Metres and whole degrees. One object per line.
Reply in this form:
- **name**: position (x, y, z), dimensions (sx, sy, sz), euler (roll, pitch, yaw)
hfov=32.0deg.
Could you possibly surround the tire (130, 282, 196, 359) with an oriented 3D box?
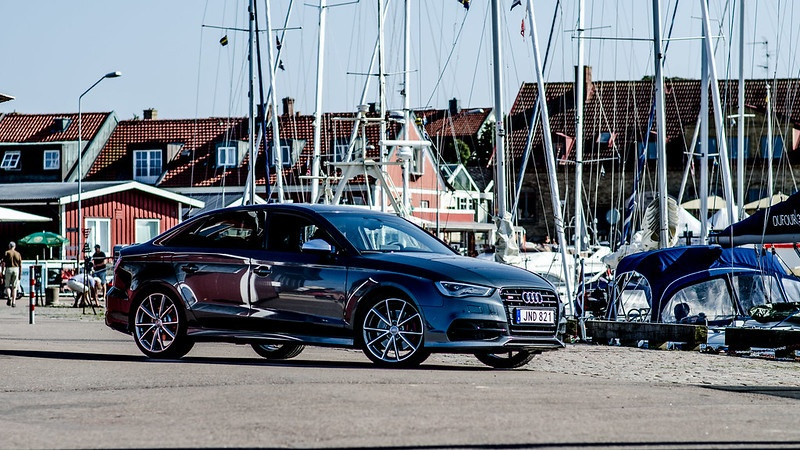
- **tire**: position (-5.700, 2.259, 33.684), dimensions (1.372, 1.383, 0.578), euler (-27, -13, 22)

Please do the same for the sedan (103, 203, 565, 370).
- **sedan**: position (-1.514, 1.574, 33.756), dimensions (9.918, 3.195, 4.211), euler (-2, -4, 21)

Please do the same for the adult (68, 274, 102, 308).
- **adult**: position (-11.298, 2.317, 49.991), dimensions (1.098, 1.288, 3.439), euler (-2, 2, -12)

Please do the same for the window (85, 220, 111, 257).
- **window**: position (-13.705, 0.509, 62.890), dimensions (1.599, 1.891, 0.128), euler (-3, 9, -40)

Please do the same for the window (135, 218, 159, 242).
- **window**: position (-11.603, 0.201, 63.288), dimensions (1.123, 1.105, 0.787), euler (-1, 0, -32)

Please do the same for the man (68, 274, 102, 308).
- **man**: position (-11.292, 2.286, 50.015), dimensions (0.591, 0.847, 1.595), euler (-6, -6, 33)

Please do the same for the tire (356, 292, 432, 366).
- **tire**: position (-0.041, 2.417, 32.643), dimensions (1.834, 1.845, 0.782), euler (3, 3, 24)

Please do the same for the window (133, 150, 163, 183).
- **window**: position (-13.984, -3.253, 77.609), dimensions (2.117, 2.288, 0.179), euler (1, 2, 19)
